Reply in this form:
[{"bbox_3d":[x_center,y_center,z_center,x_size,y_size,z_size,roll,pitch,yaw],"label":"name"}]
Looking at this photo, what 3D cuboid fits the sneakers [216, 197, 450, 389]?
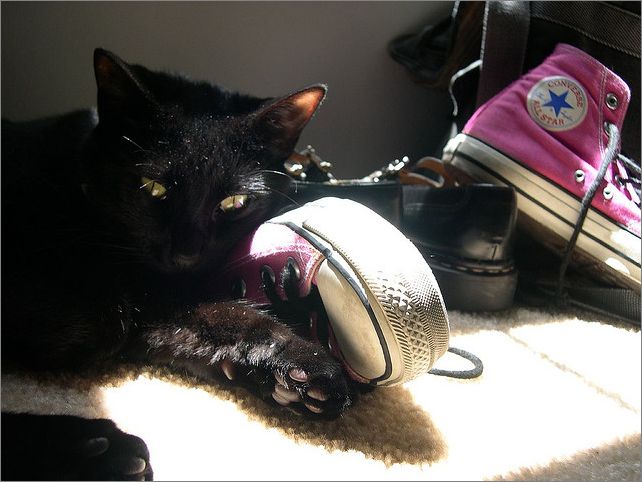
[{"bbox_3d":[-0.014,0.060,0.991,0.421,0.154,0.204,25,64,30],"label":"sneakers"}]
